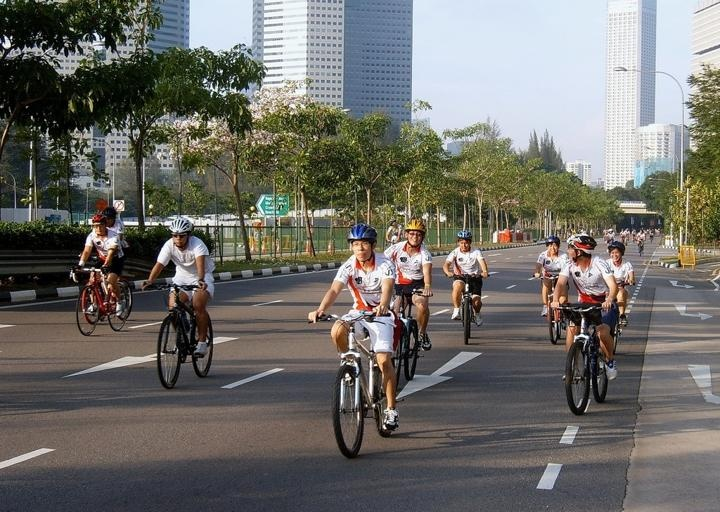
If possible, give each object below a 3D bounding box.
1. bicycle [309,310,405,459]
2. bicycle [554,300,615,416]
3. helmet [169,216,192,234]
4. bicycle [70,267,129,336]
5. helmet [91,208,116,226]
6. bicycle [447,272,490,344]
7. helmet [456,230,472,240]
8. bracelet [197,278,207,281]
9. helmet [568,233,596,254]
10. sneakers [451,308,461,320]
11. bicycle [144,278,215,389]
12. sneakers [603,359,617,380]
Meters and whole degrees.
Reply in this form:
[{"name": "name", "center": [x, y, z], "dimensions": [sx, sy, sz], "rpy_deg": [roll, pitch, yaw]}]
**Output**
[{"name": "bicycle", "center": [0.004, 1.440, 11.549], "dimensions": [0.735, 1.630, 1.835], "rpy_deg": [1, 6, 18]}, {"name": "bicycle", "center": [2.987, 1.353, 12.905], "dimensions": [0.500, 1.385, 1.417], "rpy_deg": [1, 6, 20]}, {"name": "helmet", "center": [-2.705, -0.456, 14.447], "dimensions": [0.407, 0.238, 0.624], "rpy_deg": [0, 9, -6]}, {"name": "bicycle", "center": [-4.910, 0.814, 18.310], "dimensions": [1.057, 1.233, 1.695], "rpy_deg": [-2, 6, -17]}, {"name": "helmet", "center": [-4.910, -0.749, 18.361], "dimensions": [0.307, 0.395, 0.413], "rpy_deg": [-1, -23, 1]}, {"name": "bicycle", "center": [1.941, 0.985, 17.808], "dimensions": [0.479, 1.214, 0.983], "rpy_deg": [1, 5, 16]}, {"name": "helmet", "center": [1.919, -0.394, 17.855], "dimensions": [0.167, 0.097, 0.256], "rpy_deg": [1, -4, -3]}, {"name": "bracelet", "center": [-2.302, 0.356, 13.982], "dimensions": [0.075, 0.054, 0.083], "rpy_deg": [21, -3, 5]}, {"name": "helmet", "center": [3.099, -0.161, 13.468], "dimensions": [0.331, 0.231, 0.286], "rpy_deg": [0, 7, 15]}, {"name": "sneakers", "center": [1.777, 1.098, 17.986], "dimensions": [0.108, 0.144, 0.313], "rpy_deg": [-2, -6, 15]}, {"name": "bicycle", "center": [-2.567, 1.137, 13.822], "dimensions": [0.359, 1.427, 1.323], "rpy_deg": [1, 6, 19]}, {"name": "sneakers", "center": [3.507, 1.605, 13.540], "dimensions": [0.137, 0.186, 0.423], "rpy_deg": [-3, -1, 11]}]
